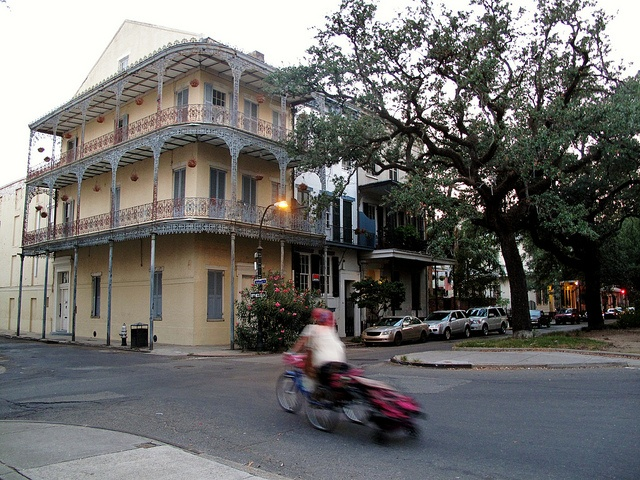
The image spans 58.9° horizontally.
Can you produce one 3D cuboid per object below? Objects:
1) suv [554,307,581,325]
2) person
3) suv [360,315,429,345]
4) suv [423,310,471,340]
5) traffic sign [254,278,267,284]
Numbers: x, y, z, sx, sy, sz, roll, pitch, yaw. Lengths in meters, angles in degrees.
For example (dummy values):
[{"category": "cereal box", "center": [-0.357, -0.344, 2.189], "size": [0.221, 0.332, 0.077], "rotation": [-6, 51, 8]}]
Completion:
[{"category": "suv", "center": [24.606, 7.696, 56.647], "size": [2.051, 1.100, 2.975], "rotation": [-2, -1, 27]}, {"category": "person", "center": [0.018, 2.449, 12.706], "size": [0.892, 2.168, 0.905], "rotation": [-1, -3, -36]}, {"category": "suv", "center": [3.968, 4.841, 30.087], "size": [3.746, 1.277, 1.317], "rotation": [0, -1, -38]}, {"category": "suv", "center": [7.382, 5.066, 33.607], "size": [1.214, 1.406, 3.676], "rotation": [-1, -1, 44]}, {"category": "traffic sign", "center": [-2.731, 1.887, 25.878], "size": [0.577, 0.276, 0.888], "rotation": [-1, -1, -7]}]
